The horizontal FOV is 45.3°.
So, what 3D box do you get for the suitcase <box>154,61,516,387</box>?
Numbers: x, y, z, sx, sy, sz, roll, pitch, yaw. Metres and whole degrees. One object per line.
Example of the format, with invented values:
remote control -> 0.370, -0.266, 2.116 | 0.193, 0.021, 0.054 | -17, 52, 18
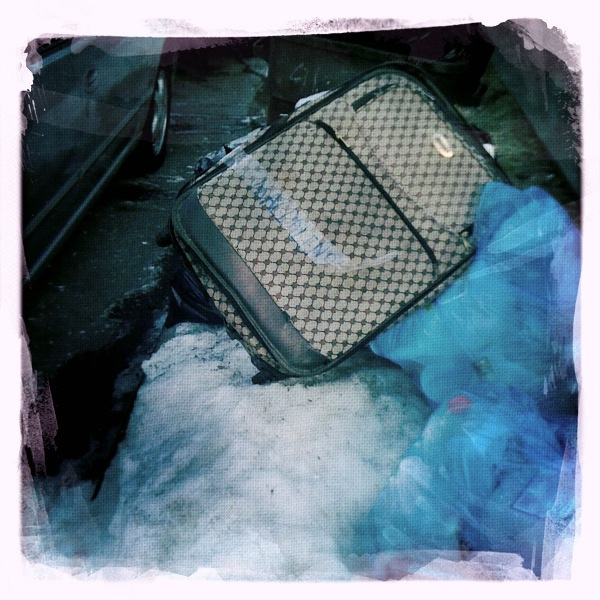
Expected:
suitcase -> 0.076, -0.194, 2.050 | 0.890, 0.269, 0.679 | -33, 89, -5
